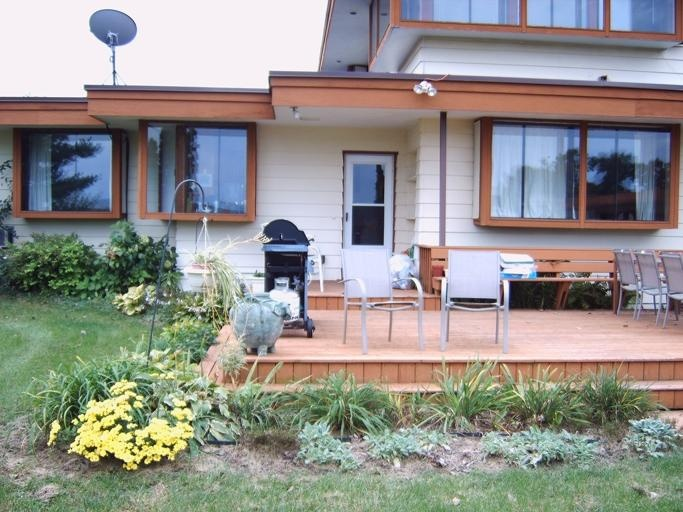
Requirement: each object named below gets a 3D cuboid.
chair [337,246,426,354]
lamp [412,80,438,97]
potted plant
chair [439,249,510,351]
[{"bbox_3d":[0.443,0.501,9.246,0.801,1.270,0.876,-1,1,-22],"label":"chair"},{"bbox_3d":[1.228,-2.479,11.456,0.351,0.230,0.214,0,3,7],"label":"lamp"},{"bbox_3d":[-1.510,0.175,10.846,0.782,1.020,0.820,12,14,15],"label":"potted plant"},{"bbox_3d":[1.623,0.540,9.528,0.853,1.130,0.940,4,-8,-14],"label":"chair"}]
